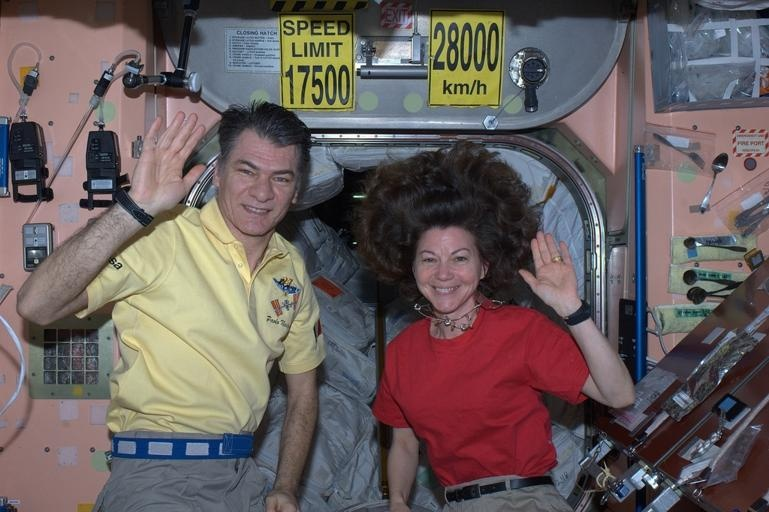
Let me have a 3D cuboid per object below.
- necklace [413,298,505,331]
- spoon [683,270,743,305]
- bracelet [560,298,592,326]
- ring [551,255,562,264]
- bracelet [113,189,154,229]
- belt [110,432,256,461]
[{"bbox_3d":[0.410,0.299,3.380,0.231,0.076,0.237,3,21,45],"label":"necklace"},{"bbox_3d":[2.015,0.189,4.007,0.330,0.212,0.035,0,4,2],"label":"spoon"},{"bbox_3d":[0.885,0.280,2.994,0.106,0.060,0.112,-30,8,10],"label":"bracelet"},{"bbox_3d":[0.828,0.016,3.119,0.034,0.011,0.036,-3,36,2],"label":"ring"},{"bbox_3d":[-1.151,-0.222,2.988,0.162,0.169,0.069,-1,5,-14],"label":"bracelet"},{"bbox_3d":[-0.998,0.935,3.200,0.670,0.176,0.105,-1,5,-10],"label":"belt"}]
